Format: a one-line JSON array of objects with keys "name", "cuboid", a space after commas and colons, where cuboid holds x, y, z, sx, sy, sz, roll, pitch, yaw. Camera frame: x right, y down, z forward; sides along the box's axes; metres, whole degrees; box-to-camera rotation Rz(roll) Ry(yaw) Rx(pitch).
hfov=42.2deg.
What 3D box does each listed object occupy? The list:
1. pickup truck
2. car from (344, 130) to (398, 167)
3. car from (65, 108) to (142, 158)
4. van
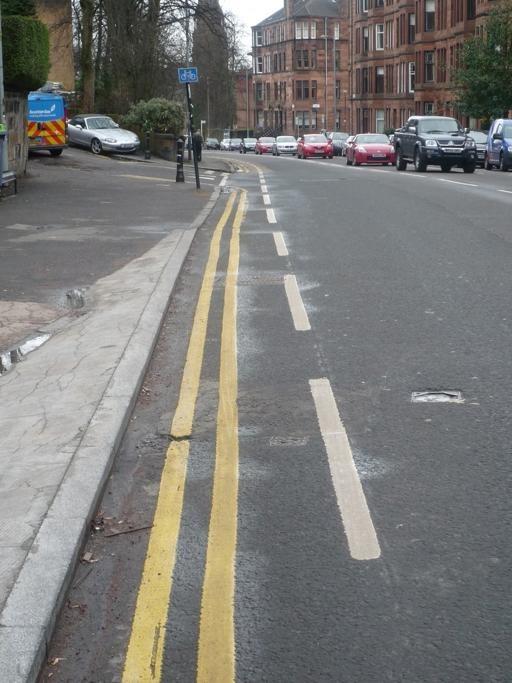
[{"name": "pickup truck", "cuboid": [8.737, -9.833, 33.041, 2.141, 2.974, 4.055, -5, 11, -34]}, {"name": "car", "cuboid": [6.956, -11.611, 40.333, 2.630, 2.020, 2.233, 1, 9, 0]}, {"name": "car", "cuboid": [-9.438, -12.400, 39.544, 2.182, 1.618, 4.680, -11, 25, -34]}, {"name": "van", "cuboid": [-10.924, -11.488, 34.423, 1.854, 3.756, 6.536, -2, 10, -18]}]
